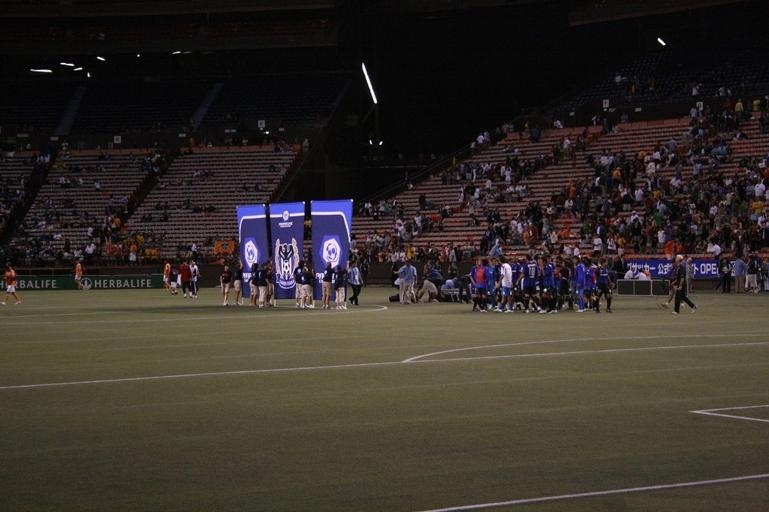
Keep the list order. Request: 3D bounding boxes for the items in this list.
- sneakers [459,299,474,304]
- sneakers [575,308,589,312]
[{"bbox_3d":[3.875,2.135,43.769,0.580,0.234,0.196,-3,0,19],"label":"sneakers"},{"bbox_3d":[7.825,2.137,36.678,0.527,0.209,0.182,4,-4,-26],"label":"sneakers"}]
